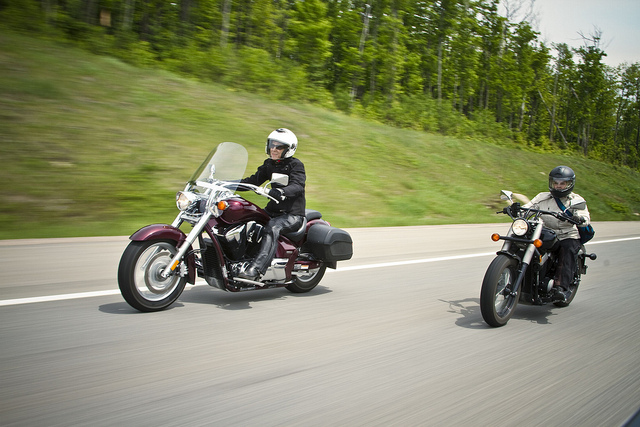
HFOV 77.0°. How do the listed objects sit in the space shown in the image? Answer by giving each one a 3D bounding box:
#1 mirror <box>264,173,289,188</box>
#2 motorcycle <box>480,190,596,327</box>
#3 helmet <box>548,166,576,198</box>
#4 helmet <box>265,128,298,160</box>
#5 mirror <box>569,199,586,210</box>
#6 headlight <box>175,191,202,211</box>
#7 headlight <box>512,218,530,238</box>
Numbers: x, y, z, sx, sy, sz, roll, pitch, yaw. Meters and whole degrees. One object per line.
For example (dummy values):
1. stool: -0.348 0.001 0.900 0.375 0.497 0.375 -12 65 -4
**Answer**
1. mirror: -0.524 -0.421 5.045 0.244 0.074 0.151 -19 34 -41
2. motorcycle: 3.075 0.645 5.788 2.177 1.872 0.698 -1 14 -34
3. helmet: 3.645 -0.503 6.133 0.442 0.357 0.505 4 21 24
4. helmet: -0.602 -1.063 6.388 0.482 0.337 0.555 15 12 36
5. mirror: 3.916 -0.134 6.037 0.219 0.134 0.052 -10 -23 -19
6. headlight: -1.803 -0.161 5.436 0.297 0.266 0.226 10 11 24
7. headlight: 2.735 0.206 5.450 0.308 0.238 0.105 3 -5 26
